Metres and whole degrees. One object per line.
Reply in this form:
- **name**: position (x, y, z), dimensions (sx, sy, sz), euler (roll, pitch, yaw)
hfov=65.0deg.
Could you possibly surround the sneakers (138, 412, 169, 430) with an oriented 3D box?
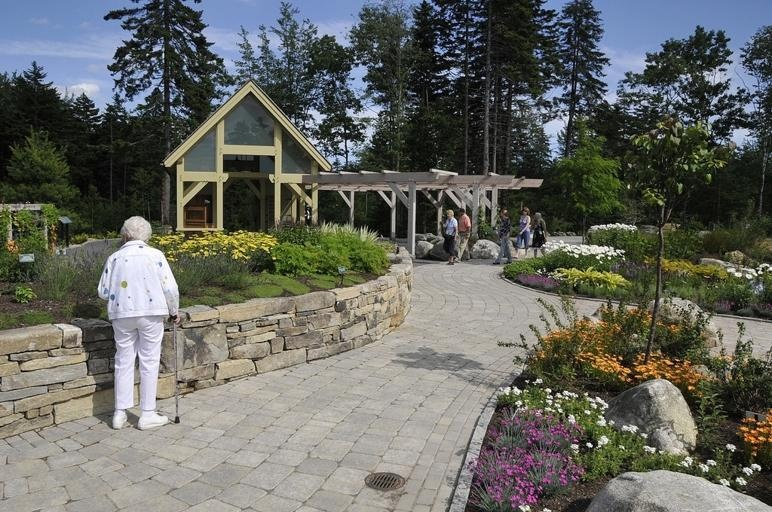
- **sneakers**: position (-3.516, 2.447, 9.122), dimensions (0.490, 0.236, 0.206), euler (-1, 5, -31)

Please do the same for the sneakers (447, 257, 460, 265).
- **sneakers**: position (2.582, 0.163, 22.726), dimensions (0.216, 0.288, 0.654), euler (-4, -7, 19)

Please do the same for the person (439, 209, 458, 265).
- **person**: position (2.423, -0.744, 22.354), dimensions (0.506, 2.047, 1.527), euler (2, 12, 6)
